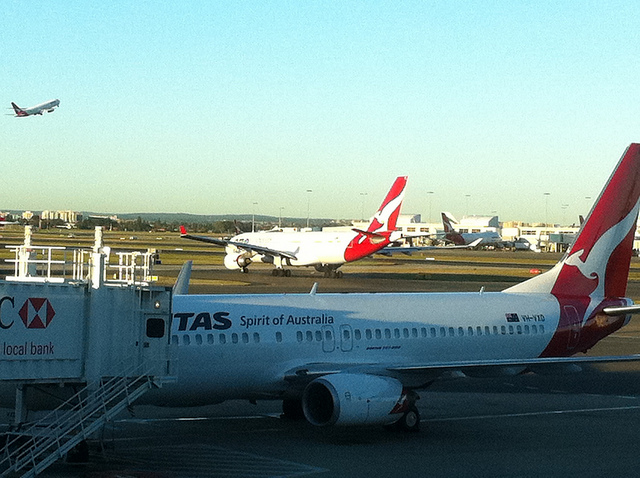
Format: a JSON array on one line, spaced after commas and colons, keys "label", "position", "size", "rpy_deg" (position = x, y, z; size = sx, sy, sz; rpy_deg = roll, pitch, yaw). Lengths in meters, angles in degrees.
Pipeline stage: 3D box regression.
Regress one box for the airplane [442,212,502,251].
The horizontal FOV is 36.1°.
[{"label": "airplane", "position": [29.694, -0.073, 187.550], "size": [10.618, 3.943, 9.454], "rpy_deg": [-5, 10, -43]}]
